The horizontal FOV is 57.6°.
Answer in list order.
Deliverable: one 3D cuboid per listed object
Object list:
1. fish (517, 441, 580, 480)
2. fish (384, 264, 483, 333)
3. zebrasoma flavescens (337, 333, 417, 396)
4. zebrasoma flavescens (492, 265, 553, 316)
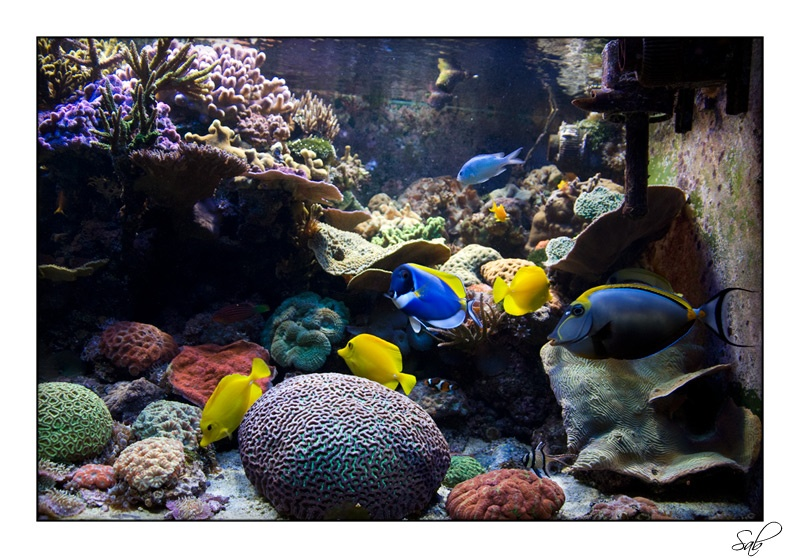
[{"bbox_3d":[1.331,1.641,6.546,0.576,0.322,0.175,0,19,-20],"label":"fish"},{"bbox_3d":[0.273,0.151,6.218,0.821,0.530,0.276,11,-20,-11],"label":"fish"},{"bbox_3d":[-0.215,0.813,6.925,0.608,0.372,0.164,27,29,13],"label":"zebrasoma flavescens"},{"bbox_3d":[1.053,0.105,6.333,0.699,0.416,0.184,0,9,-39],"label":"zebrasoma flavescens"}]
